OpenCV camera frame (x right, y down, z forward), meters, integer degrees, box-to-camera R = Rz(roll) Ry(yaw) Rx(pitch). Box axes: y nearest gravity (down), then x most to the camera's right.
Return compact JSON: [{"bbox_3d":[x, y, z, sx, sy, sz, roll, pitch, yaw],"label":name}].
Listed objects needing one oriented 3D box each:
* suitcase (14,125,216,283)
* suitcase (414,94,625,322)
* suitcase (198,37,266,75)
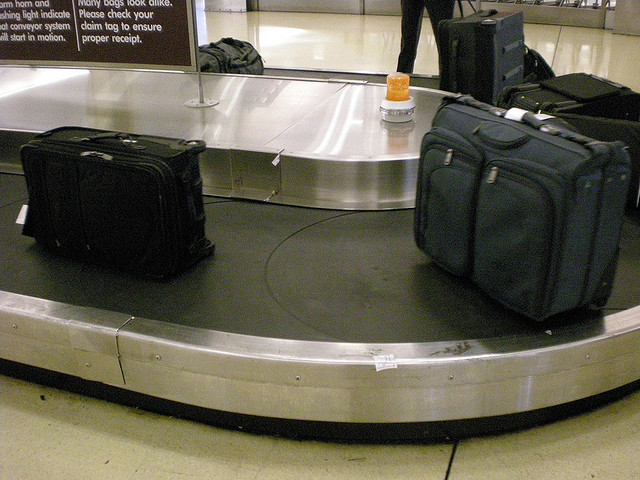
[{"bbox_3d":[-0.789,-0.168,1.965,0.762,0.451,0.371,9,23,18],"label":"suitcase"},{"bbox_3d":[0.609,-0.137,1.659,0.343,0.539,0.640,-17,30,-21],"label":"suitcase"},{"bbox_3d":[-0.703,-1.452,4.157,0.503,0.257,0.688,6,17,11],"label":"suitcase"}]
